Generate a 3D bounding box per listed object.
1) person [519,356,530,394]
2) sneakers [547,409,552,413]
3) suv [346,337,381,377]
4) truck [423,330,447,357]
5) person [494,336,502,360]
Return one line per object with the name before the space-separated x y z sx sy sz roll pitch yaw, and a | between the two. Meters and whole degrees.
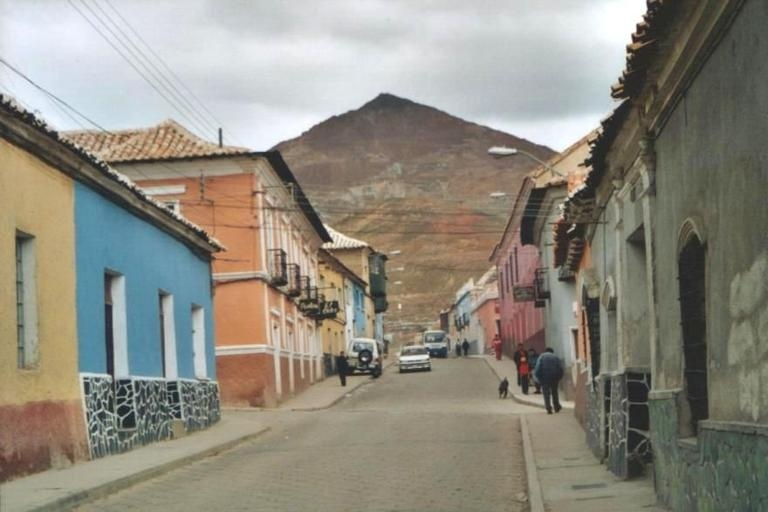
person | 4.689 3.952 32.900 0.352 1.259 1.454 0 -2 8
sneakers | 4.281 4.008 25.313 0.120 0.125 0.068 1 -1 9
suv | -0.862 4.974 48.832 1.132 1.224 2.149 0 -1 6
truck | 3.576 6.082 67.546 1.624 1.698 3.369 0 -2 1
person | 6.360 5.050 54.542 0.288 1.376 0.978 0 -1 -1
